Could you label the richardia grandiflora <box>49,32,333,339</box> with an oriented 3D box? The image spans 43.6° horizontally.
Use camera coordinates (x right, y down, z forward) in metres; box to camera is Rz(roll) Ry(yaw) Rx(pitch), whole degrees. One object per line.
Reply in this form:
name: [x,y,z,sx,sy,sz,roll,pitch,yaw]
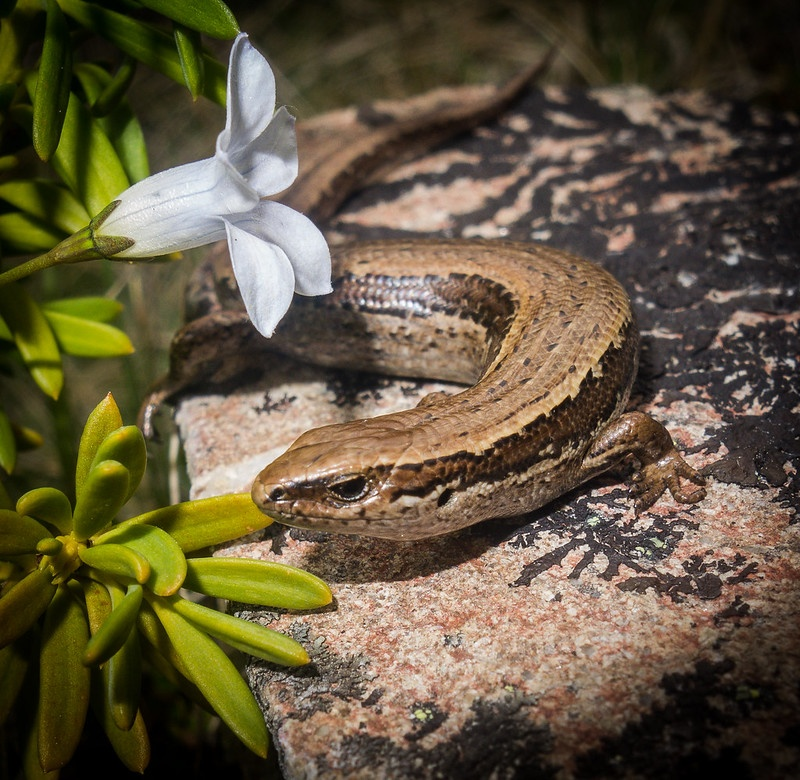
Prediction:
richardia grandiflora: [-0.360,-0.398,2.312,0.805,0.430,0.547,-15,67,12]
